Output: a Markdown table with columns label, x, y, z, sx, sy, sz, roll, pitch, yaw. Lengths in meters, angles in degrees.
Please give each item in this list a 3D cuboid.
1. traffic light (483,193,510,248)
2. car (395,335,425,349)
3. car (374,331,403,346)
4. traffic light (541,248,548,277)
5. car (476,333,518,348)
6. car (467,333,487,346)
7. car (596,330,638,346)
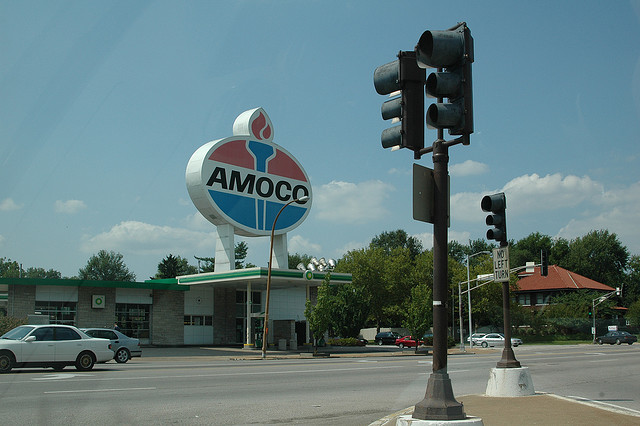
| label | x | y | z | sx | sy | sz | roll | pitch | yaw |
| --- | --- | --- | --- | --- | --- | --- | --- | --- | --- |
| traffic light | 7.505 | 0.384 | 34.443 | 0.890 | 2.347 | 0.682 | -7 | 4 | -24 |
| car | 8.658 | 12.418 | 78.708 | 3.234 | 1.299 | 1.685 | -13 | -14 | 34 |
| car | 6.878 | 12.928 | 84.164 | 2.580 | 1.091 | 1.253 | -14 | -13 | 36 |
| traffic light | 15.420 | 3.360 | 55.976 | 0.374 | 1.686 | 1.323 | -4 | -14 | 11 |
| car | 16.820 | 12.670 | 80.767 | 2.814 | 1.381 | 1.464 | -9 | -16 | 24 |
| car | 15.680 | 13.045 | 82.083 | 2.151 | 1.362 | 1.447 | -8 | -8 | 10 |
| car | 30.099 | 12.688 | 82.104 | 1.932 | 1.864 | 3.672 | 10 | -19 | -37 |
